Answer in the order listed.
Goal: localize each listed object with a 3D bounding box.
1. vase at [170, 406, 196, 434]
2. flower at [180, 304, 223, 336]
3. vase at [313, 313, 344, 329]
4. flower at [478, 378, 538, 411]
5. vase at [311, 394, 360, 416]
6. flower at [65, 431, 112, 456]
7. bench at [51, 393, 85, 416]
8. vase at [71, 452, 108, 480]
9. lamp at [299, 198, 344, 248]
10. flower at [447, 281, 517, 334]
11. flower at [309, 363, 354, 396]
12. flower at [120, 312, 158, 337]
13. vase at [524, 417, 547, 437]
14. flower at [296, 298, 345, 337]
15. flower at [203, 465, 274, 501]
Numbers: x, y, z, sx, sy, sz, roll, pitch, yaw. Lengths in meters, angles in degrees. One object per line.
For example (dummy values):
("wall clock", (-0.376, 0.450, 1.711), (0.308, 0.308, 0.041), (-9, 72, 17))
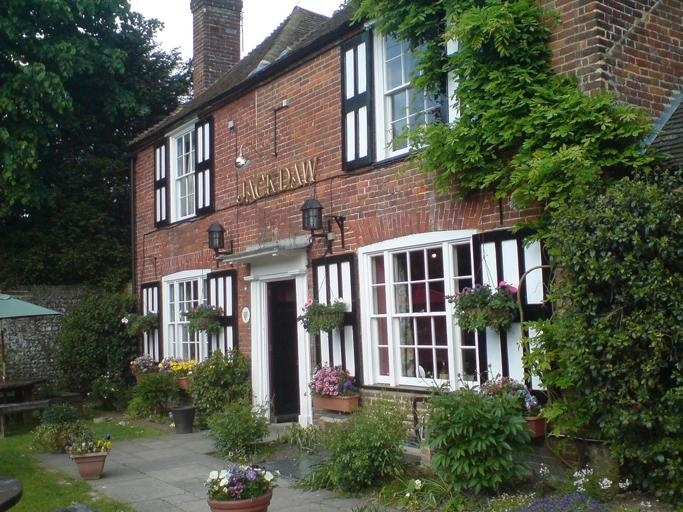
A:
("vase", (-2.767, 2.863, 12.899), (0.376, 0.386, 0.425), (-1, -8, -10))
("flower", (-2.650, 1.248, 14.406), (0.602, 0.476, 0.564), (3, -5, -1))
("vase", (-0.196, 1.025, 11.502), (0.284, 0.151, 0.281), (-3, -4, 39))
("flower", (2.101, 1.727, 9.209), (0.629, 0.312, 0.635), (-5, 1, -34))
("vase", (-0.070, 2.273, 11.330), (0.886, 0.270, 0.329), (-4, 1, 42))
("flower", (-3.626, 2.661, 10.496), (0.567, 0.349, 0.538), (4, -6, -23))
("bench", (-5.313, 2.929, 14.296), (0.533, 0.481, 1.234), (-5, 1, -17))
("vase", (-3.422, 2.835, 10.038), (0.403, 0.311, 0.374), (0, -9, -10))
("lamp", (-0.317, -0.478, 11.851), (0.701, 0.965, 0.555), (1, -4, 0))
("flower", (1.888, 0.689, 9.876), (0.888, 0.612, 0.847), (-13, -4, 30))
("flower", (-0.166, 1.909, 11.324), (0.449, 0.298, 0.472), (3, -3, -37))
("flower", (-4.516, 1.537, 16.503), (0.596, 0.509, 1.009), (-5, 1, -33))
("vase", (2.391, 2.085, 9.052), (0.313, 0.261, 0.276), (-1, -1, -5))
("flower", (-0.299, 0.973, 11.805), (0.672, 0.559, 0.695), (-8, 2, -1))
("flower", (-1.106, 2.471, 8.088), (0.433, 0.287, 0.462), (3, -5, -37))
